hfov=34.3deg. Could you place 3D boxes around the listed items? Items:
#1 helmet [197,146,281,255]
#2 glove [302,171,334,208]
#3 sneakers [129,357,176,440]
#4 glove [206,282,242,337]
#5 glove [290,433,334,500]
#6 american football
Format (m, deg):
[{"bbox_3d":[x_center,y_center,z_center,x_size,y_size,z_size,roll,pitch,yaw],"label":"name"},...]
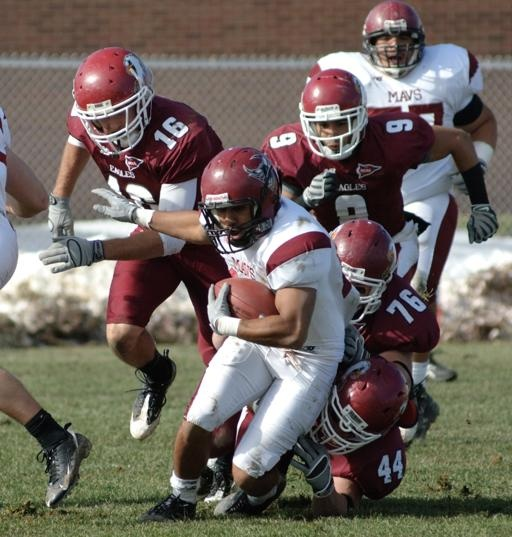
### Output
[{"bbox_3d":[-0.058,-0.223,2.795,0.278,0.313,0.308,-7,37,9],"label":"helmet"},{"bbox_3d":[0.260,-0.312,3.285,0.170,0.070,0.087,-33,45,31],"label":"glove"},{"bbox_3d":[-0.484,0.613,3.872,0.167,0.185,0.391,20,76,15],"label":"sneakers"},{"bbox_3d":[-0.107,0.133,2.746,0.096,0.162,0.143,-9,3,20],"label":"glove"},{"bbox_3d":[0.202,0.647,2.758,0.128,0.067,0.206,-41,68,0],"label":"glove"},{"bbox_3d":[-0.022,0.098,2.733,0.186,0.118,0.090,14,92,34],"label":"american football"}]
